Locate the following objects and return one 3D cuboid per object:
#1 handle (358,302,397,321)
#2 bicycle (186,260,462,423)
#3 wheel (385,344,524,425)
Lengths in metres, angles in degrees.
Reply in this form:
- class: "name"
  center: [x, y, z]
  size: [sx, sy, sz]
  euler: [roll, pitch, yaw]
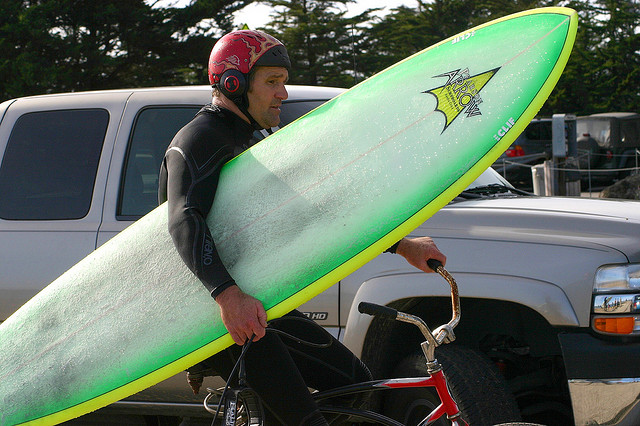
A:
- class: "handle"
  center: [0.407, 0.589, 5.578]
  size: [0.327, 0.080, 0.086]
  euler: [13, -1, -21]
- class: "bicycle"
  center: [0.042, 0.921, 6.105]
  size: [1.825, 1.005, 0.914]
  euler: [-4, -7, 13]
- class: "wheel"
  center: [0.910, 1.159, 6.114]
  size: [0.716, 0.627, 0.244]
  euler: [3, 5, 28]
